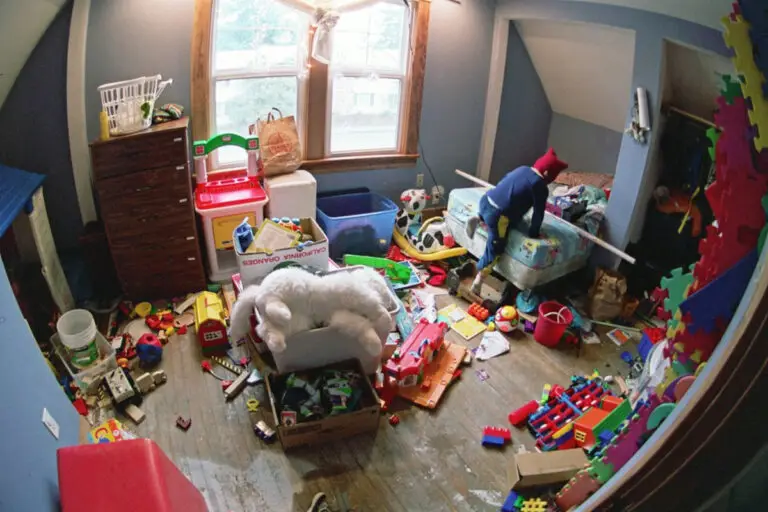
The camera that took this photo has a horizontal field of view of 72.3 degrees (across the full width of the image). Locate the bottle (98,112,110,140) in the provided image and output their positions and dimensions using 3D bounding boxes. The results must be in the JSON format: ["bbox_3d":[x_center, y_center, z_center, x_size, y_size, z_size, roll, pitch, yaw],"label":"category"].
[{"bbox_3d":[-1.826,-0.853,3.407,0.066,0.177,0.134,-10,23,-27],"label":"bottle"}]

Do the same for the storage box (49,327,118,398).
[{"bbox_3d":[-1.919,0.660,3.383,0.288,0.285,0.449,-27,50,-31],"label":"storage box"}]

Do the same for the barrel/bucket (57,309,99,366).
[{"bbox_3d":[-1.908,0.519,3.250,0.180,0.282,0.192,7,50,-8],"label":"barrel/bucket"}]

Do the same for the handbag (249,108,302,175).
[{"bbox_3d":[-0.869,-0.882,4.094,0.382,0.556,0.306,-13,20,-32],"label":"handbag"}]

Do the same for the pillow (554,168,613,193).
[{"bbox_3d":[1.743,-0.670,4.547,0.362,0.099,0.235,19,46,34],"label":"pillow"}]

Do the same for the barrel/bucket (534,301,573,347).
[{"bbox_3d":[1.213,0.497,3.740,0.185,0.206,0.180,1,36,0],"label":"barrel/bucket"}]

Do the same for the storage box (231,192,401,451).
[{"bbox_3d":[-0.326,0.427,3.218,1.069,0.917,0.852,-6,36,-15],"label":"storage box"}]

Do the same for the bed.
[{"bbox_3d":[1.266,-0.125,4.113,0.839,0.346,0.890,-11,36,-39],"label":"bed"}]
